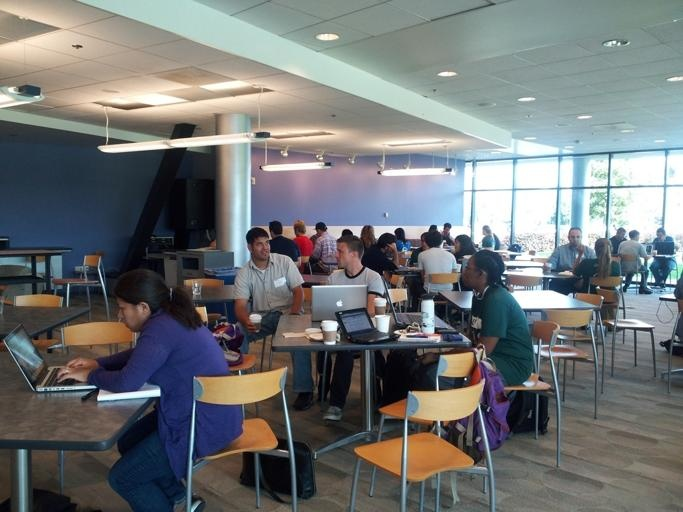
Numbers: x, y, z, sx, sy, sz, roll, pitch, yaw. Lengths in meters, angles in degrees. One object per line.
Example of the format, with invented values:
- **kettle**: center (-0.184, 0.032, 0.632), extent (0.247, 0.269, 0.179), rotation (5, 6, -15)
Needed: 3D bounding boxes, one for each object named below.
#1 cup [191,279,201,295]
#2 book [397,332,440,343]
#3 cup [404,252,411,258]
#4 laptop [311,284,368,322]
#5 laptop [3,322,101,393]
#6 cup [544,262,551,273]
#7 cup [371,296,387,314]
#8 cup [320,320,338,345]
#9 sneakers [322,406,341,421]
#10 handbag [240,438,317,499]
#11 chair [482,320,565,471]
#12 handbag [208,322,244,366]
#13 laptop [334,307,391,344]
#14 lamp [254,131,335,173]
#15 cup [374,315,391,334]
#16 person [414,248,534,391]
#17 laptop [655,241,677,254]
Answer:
- **cup**: center (-1.496, 0.313, 5.303), extent (0.164, 0.152, 0.136), rotation (0, -5, -17)
- **book**: center (0.542, 0.572, 3.725), extent (0.297, 0.031, 0.162), rotation (2, 4, 5)
- **cup**: center (1.378, -0.012, 11.102), extent (0.124, 0.122, 0.203), rotation (-1, 4, 10)
- **laptop**: center (0.069, 0.375, 4.161), extent (0.534, 0.283, 0.392), rotation (-4, -6, 42)
- **laptop**: center (-1.536, 0.533, 2.888), extent (0.460, 0.237, 0.435), rotation (1, 6, -16)
- **cup**: center (3.084, 0.164, 7.948), extent (0.145, 0.166, 0.187), rotation (0, 3, 21)
- **cup**: center (0.299, 0.390, 4.138), extent (0.131, 0.110, 0.118), rotation (0, -3, -12)
- **cup**: center (-0.083, 0.517, 3.614), extent (0.155, 0.136, 0.155), rotation (-1, -2, 0)
- **sneakers**: center (-0.084, 1.316, 4.430), extent (0.093, 0.069, 0.179), rotation (-1, -10, 20)
- **handbag**: center (-0.404, 1.363, 3.379), extent (0.576, 0.330, 0.211), rotation (1, 12, 22)
- **chair**: center (1.378, 1.044, 4.254), extent (0.661, 0.999, 0.649), rotation (8, -2, 10)
- **handbag**: center (-0.998, 0.703, 4.406), extent (0.310, 0.318, 0.345), rotation (11, -16, -13)
- **laptop**: center (0.164, 0.492, 3.751), extent (0.271, 0.190, 0.357), rotation (-2, 5, -35)
- **lamp**: center (-1.002, -2.063, 11.215), extent (1.310, 0.729, 4.292), rotation (1, 4, -7)
- **cup**: center (0.295, 0.484, 3.826), extent (0.115, 0.102, 0.126), rotation (0, -3, 0)
- **person**: center (1.234, 0.462, 4.492), extent (1.155, 1.299, 0.883), rotation (-4, 0, 17)
- **laptop**: center (7.244, -0.188, 11.913), extent (0.459, 0.258, 0.305), rotation (0, 7, 26)
